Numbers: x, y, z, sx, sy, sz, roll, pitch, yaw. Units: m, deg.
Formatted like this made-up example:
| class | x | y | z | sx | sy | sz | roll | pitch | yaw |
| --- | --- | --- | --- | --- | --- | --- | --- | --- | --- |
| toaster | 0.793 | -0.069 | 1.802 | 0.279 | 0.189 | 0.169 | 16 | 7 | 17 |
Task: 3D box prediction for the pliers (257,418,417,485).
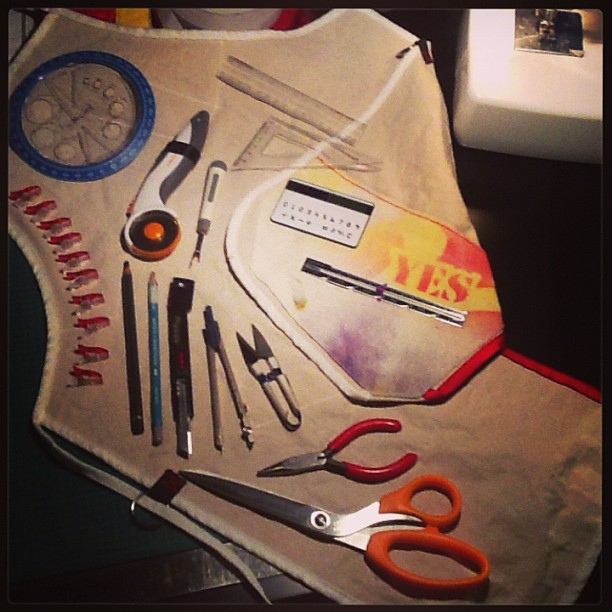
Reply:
| class | x | y | z | sx | sy | sz | roll | pitch | yaw |
| --- | --- | --- | --- | --- | --- | --- | --- | --- | --- |
| pliers | 0.043 | 0.268 | 1.226 | 0.284 | 0.043 | 0.110 | -8 | 59 | -13 |
